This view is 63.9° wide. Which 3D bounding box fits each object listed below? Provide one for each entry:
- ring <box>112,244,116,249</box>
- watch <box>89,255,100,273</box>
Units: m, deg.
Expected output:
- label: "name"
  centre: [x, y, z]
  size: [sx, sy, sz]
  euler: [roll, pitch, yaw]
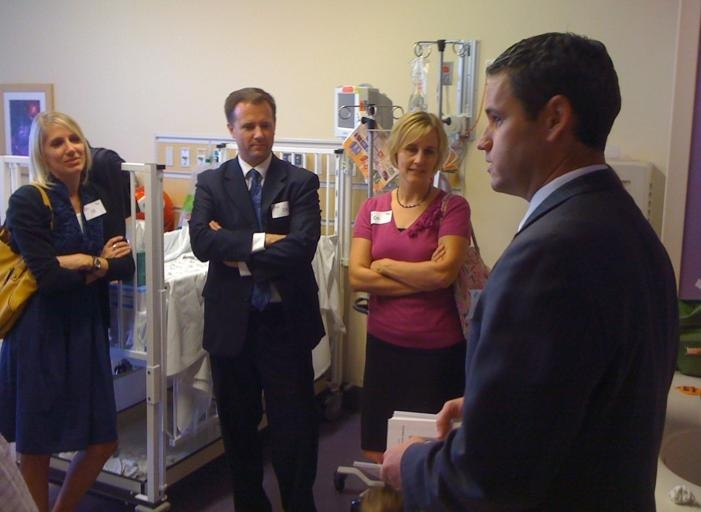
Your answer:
- label: "ring"
  centre: [-1.120, -0.042, 2.659]
  size: [0.020, 0.020, 0.005]
  euler: [9, -1, -2]
- label: "watch"
  centre: [-1.149, 0.037, 2.532]
  size: [0.040, 0.057, 0.020]
  euler: [10, -20, -36]
